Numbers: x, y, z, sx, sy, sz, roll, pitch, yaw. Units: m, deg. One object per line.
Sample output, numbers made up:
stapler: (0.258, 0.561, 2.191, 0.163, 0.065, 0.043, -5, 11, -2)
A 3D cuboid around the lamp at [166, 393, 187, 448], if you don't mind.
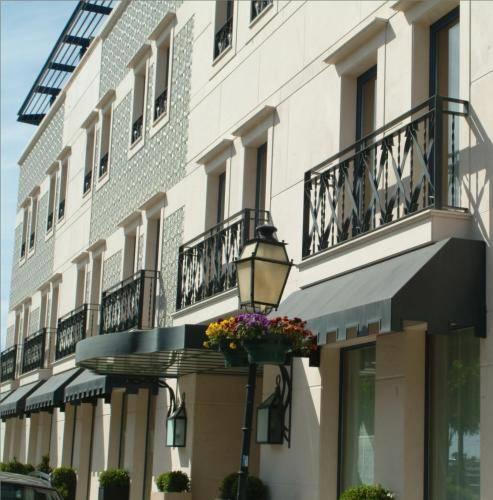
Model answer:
lamp: (-1.260, 3.068, 17.813, 0.285, 0.944, 0.754, 2, -17, -14)
